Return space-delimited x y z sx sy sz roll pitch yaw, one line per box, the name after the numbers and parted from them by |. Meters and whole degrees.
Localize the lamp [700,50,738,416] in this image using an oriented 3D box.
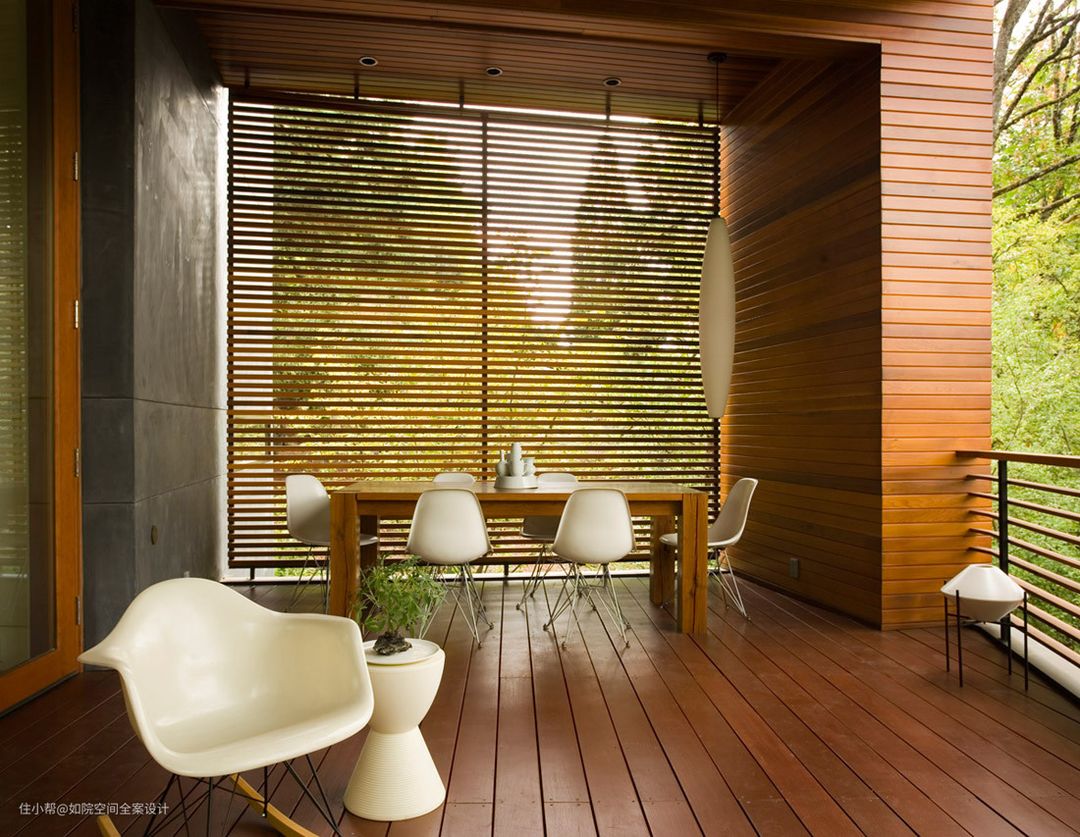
1.332 -0.788 6.605 0.251 1.494 0.261 0 3 8 | lamp

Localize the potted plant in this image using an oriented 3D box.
-0.696 0.874 4.265 0.422 0.495 0.413 -4 -7 40 | potted plant

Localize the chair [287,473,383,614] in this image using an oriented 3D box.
-1.439 0.671 6.490 0.566 0.806 0.514 -6 -7 36 | chair
